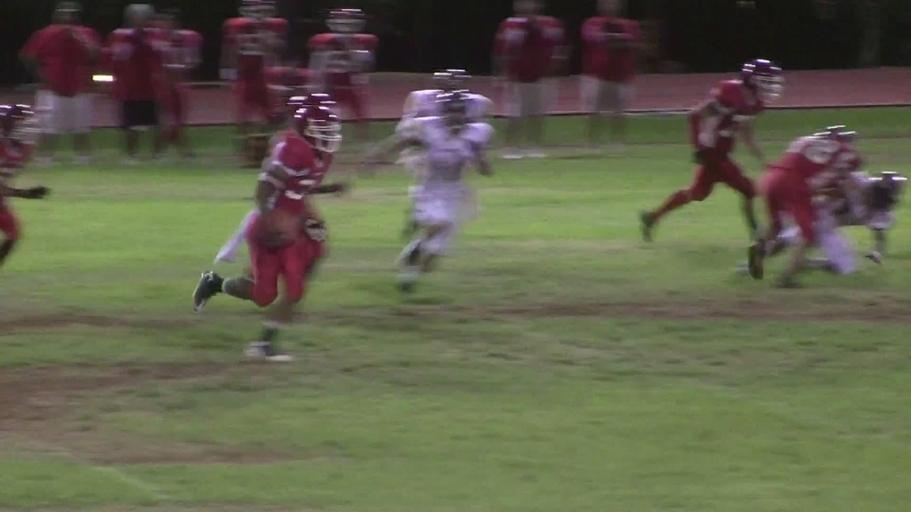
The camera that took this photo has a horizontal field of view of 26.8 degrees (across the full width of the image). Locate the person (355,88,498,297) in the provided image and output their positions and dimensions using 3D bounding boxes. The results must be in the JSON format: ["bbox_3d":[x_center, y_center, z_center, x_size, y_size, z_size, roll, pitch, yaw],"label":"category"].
[{"bbox_3d":[-0.194,-0.873,25.718,1.265,2.673,0.498,0,8,-2],"label":"person"}]

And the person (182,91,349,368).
[{"bbox_3d":[-2.175,-0.337,23.895,1.627,3.342,0.616,1,8,1],"label":"person"}]

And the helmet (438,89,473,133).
[{"bbox_3d":[-0.027,-1.920,25.584,0.404,0.560,0.123,0,8,-7],"label":"helmet"}]

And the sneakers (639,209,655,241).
[{"bbox_3d":[2.679,-0.413,26.878,0.341,0.366,0.147,-1,11,-2],"label":"sneakers"}]
